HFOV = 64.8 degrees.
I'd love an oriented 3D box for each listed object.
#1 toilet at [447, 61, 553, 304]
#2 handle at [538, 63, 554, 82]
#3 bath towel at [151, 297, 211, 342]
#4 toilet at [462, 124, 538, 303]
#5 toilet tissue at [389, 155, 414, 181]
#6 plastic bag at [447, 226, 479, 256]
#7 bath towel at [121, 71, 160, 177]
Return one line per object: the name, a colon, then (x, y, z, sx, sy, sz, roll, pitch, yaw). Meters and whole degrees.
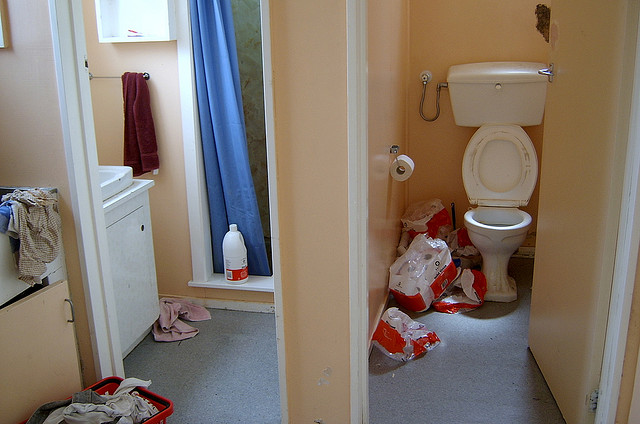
toilet: (1.166, -0.236, 3.441, 0.624, 1.496, 0.753, 3, 18, 18)
handle: (1.101, -0.675, 2.474, 0.074, 0.113, 0.091, 0, 20, 18)
bath towel: (-0.894, 0.673, 3.214, 0.361, 0.196, 0.314, 8, 24, 14)
toilet: (1.169, -0.005, 3.380, 0.477, 1.094, 0.491, 5, 19, 23)
toilet tissue: (0.458, -0.239, 2.829, 0.127, 0.129, 0.140, 15, 8, 11)
plastic bag: (1.034, 0.219, 3.709, 0.188, 0.224, 0.089, 5, -3, 6)
bath towel: (-1.137, -0.544, 3.151, 0.223, 0.610, 0.190, 2, 17, 9)
